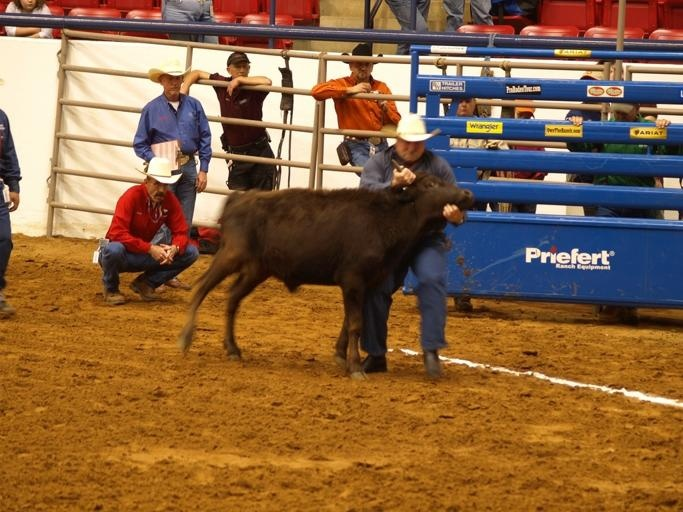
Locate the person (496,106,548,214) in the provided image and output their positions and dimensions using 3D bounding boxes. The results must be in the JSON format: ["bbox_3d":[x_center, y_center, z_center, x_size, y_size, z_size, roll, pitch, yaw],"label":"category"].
[{"bbox_3d":[2.245,-1.231,10.908,0.673,1.360,2.275,4,5,9],"label":"person"}]

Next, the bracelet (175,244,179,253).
[{"bbox_3d":[-1.759,-0.079,9.270,0.055,0.058,0.069,-2,-21,8],"label":"bracelet"}]

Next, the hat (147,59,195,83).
[{"bbox_3d":[-2.000,-2.132,10.022,0.313,0.250,0.496,0,6,-23],"label":"hat"}]

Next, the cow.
[{"bbox_3d":[-0.079,0.139,7.340,2.598,1.445,0.589,1,1,18],"label":"cow"}]

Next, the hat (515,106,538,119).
[{"bbox_3d":[2.261,-1.788,10.912,0.232,0.150,0.434,4,5,15],"label":"hat"}]

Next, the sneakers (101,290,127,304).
[{"bbox_3d":[-2.372,0.427,9.142,0.218,0.129,0.294,1,5,-17],"label":"sneakers"}]

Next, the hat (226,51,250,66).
[{"bbox_3d":[-1.325,-2.492,11.019,0.270,0.194,0.265,4,5,10],"label":"hat"}]

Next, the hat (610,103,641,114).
[{"bbox_3d":[3.079,-1.606,9.542,0.283,0.110,0.357,4,5,13],"label":"hat"}]

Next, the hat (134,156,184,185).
[{"bbox_3d":[-1.916,-0.888,9.116,0.433,0.177,0.469,23,-4,-34],"label":"hat"}]

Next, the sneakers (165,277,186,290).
[{"bbox_3d":[-1.935,0.308,9.984,0.330,0.119,0.105,3,19,-2],"label":"sneakers"}]
